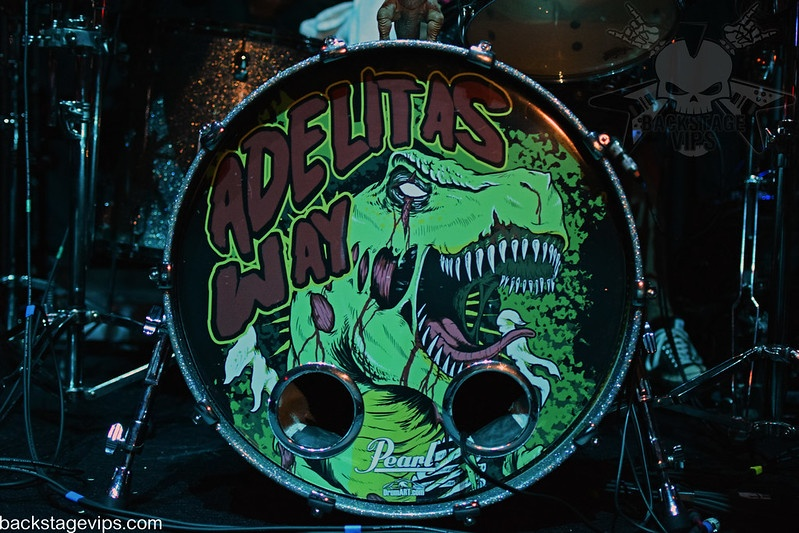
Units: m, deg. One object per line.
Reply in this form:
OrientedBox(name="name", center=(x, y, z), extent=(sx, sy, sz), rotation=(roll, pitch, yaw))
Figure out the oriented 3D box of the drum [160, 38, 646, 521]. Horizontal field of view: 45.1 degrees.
OrientedBox(name="drum", center=(0.012, 0.085, 2.722), extent=(1.215, 1.345, 0.551), rotation=(-2, -2, 1))
